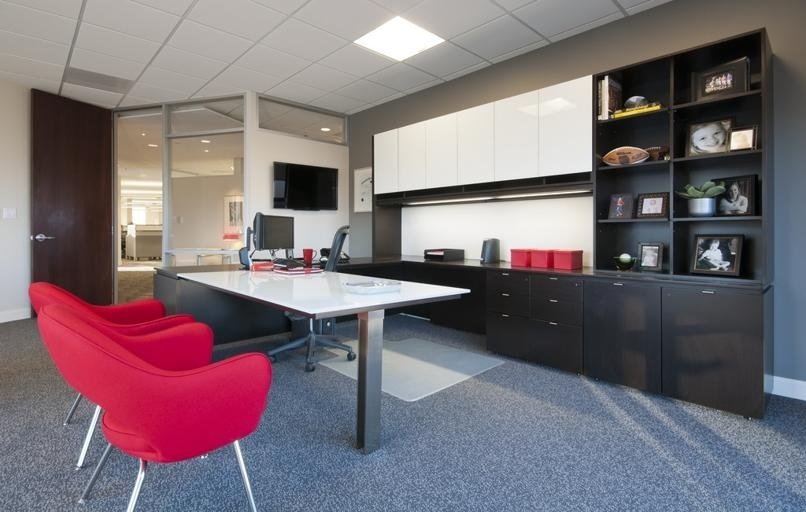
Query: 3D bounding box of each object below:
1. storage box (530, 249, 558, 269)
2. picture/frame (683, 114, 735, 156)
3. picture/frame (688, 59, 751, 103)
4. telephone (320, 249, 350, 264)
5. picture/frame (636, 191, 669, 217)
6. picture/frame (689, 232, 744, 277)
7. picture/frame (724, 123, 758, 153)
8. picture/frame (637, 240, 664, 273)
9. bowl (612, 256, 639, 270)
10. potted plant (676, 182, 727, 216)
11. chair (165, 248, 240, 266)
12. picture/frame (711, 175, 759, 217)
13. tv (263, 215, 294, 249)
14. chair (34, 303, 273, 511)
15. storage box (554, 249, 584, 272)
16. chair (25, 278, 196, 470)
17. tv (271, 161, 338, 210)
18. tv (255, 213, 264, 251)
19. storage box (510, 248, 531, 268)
[{"bbox_3d":[1.523,0.024,5.569,0.210,0.148,0.209,-3,3,-42],"label":"storage box"},{"bbox_3d":[2.894,-1.128,4.778,0.461,0.444,0.032,-1,-12,37],"label":"picture/frame"},{"bbox_3d":[2.931,-1.603,4.661,0.060,0.317,0.447,11,-13,-42],"label":"picture/frame"},{"bbox_3d":[-0.937,-0.004,6.979,0.410,0.130,0.225,2,2,42],"label":"telephone"},{"bbox_3d":[2.452,-0.499,4.971,0.282,0.272,0.103,1,-8,41],"label":"picture/frame"},{"bbox_3d":[2.901,-0.005,4.681,0.417,0.452,0.034,5,-16,32],"label":"picture/frame"},{"bbox_3d":[3.085,-1.059,4.625,0.036,0.337,0.309,20,-17,-42],"label":"picture/frame"},{"bbox_3d":[2.432,0.005,5.003,0.217,0.270,0.188,2,5,31],"label":"picture/frame"},{"bbox_3d":[2.197,0.073,5.032,0.150,0.092,0.147,-5,3,0],"label":"bowl"},{"bbox_3d":[2.756,-0.519,4.691,0.372,0.253,0.348,-1,-4,39],"label":"potted plant"},{"bbox_3d":[-3.007,-0.004,7.610,1.166,0.246,0.250,1,4,18],"label":"chair"},{"bbox_3d":[3.048,-0.540,4.648,0.067,0.378,0.400,8,-8,-38],"label":"picture/frame"},{"bbox_3d":[-1.472,-0.278,5.964,0.055,0.292,0.413,1,-1,33],"label":"tv"},{"bbox_3d":[-1.756,0.518,3.936,1.676,1.776,1.550,-3,8,-34],"label":"chair"},{"bbox_3d":[1.771,0.031,5.455,0.242,0.171,0.240,-5,6,-44],"label":"storage box"},{"bbox_3d":[-2.495,0.861,4.682,1.540,1.670,1.436,-2,5,-36],"label":"chair"},{"bbox_3d":[-1.525,-1.061,7.659,0.834,0.530,0.091,0,0,-40],"label":"tv"},{"bbox_3d":[-1.587,-0.275,5.627,0.110,0.409,0.262,-2,4,-16],"label":"tv"},{"bbox_3d":[1.305,0.022,5.708,0.198,0.167,0.196,-2,2,-35],"label":"storage box"}]
